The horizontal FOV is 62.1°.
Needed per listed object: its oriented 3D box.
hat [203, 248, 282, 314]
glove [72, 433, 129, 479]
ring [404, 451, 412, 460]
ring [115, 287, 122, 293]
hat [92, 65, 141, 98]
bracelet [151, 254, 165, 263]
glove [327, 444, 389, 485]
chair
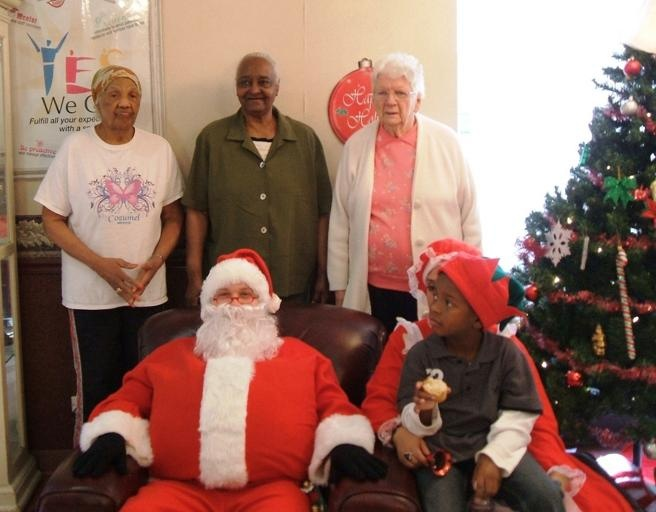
[{"bbox_3d":[-0.360,0.159,2.399,0.229,0.273,0.323,6,-24,5],"label":"hat"},{"bbox_3d":[-0.836,0.737,2.003,0.184,0.116,0.142,-3,8,-27],"label":"glove"},{"bbox_3d":[0.293,0.722,1.974,0.018,0.027,0.008,0,-4,22],"label":"ring"},{"bbox_3d":[-1.059,0.174,2.770,0.032,0.039,0.022,4,15,11],"label":"ring"},{"bbox_3d":[-1.096,-0.904,2.820,0.225,0.172,0.159,-3,8,-26],"label":"hat"},{"bbox_3d":[-0.882,0.013,2.847,0.037,0.040,0.015,0,-20,-32],"label":"bracelet"},{"bbox_3d":[0.100,0.744,1.955,0.140,0.052,0.146,10,18,23],"label":"glove"},{"bbox_3d":[-0.290,0.543,2.250,1.102,1.070,0.966,-1,2,6],"label":"chair"}]
